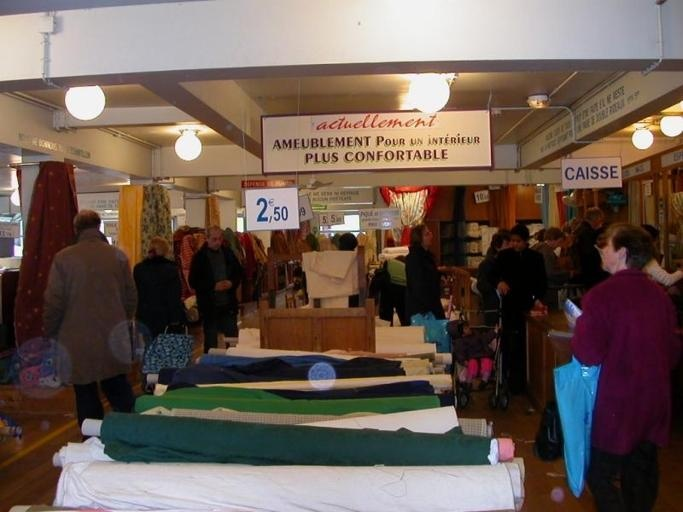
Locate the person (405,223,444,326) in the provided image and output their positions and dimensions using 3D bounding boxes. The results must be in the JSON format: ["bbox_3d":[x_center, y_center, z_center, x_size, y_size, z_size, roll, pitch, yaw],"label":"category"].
[{"bbox_3d":[0.977,0.221,6.735,0.443,1.173,0.450,-1,1,8],"label":"person"}]

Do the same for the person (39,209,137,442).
[{"bbox_3d":[-2.151,0.495,4.932,0.722,1.786,0.352,-1,1,-22],"label":"person"}]

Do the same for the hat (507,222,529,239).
[{"bbox_3d":[2.063,-0.290,6.678,0.179,0.258,0.251,1,7,16],"label":"hat"}]

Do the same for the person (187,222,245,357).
[{"bbox_3d":[-1.538,0.371,7.026,0.616,1.465,0.379,-1,1,-8],"label":"person"}]

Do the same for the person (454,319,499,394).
[{"bbox_3d":[1.386,1.096,6.104,0.423,0.727,0.742,-1,-43,4],"label":"person"}]
